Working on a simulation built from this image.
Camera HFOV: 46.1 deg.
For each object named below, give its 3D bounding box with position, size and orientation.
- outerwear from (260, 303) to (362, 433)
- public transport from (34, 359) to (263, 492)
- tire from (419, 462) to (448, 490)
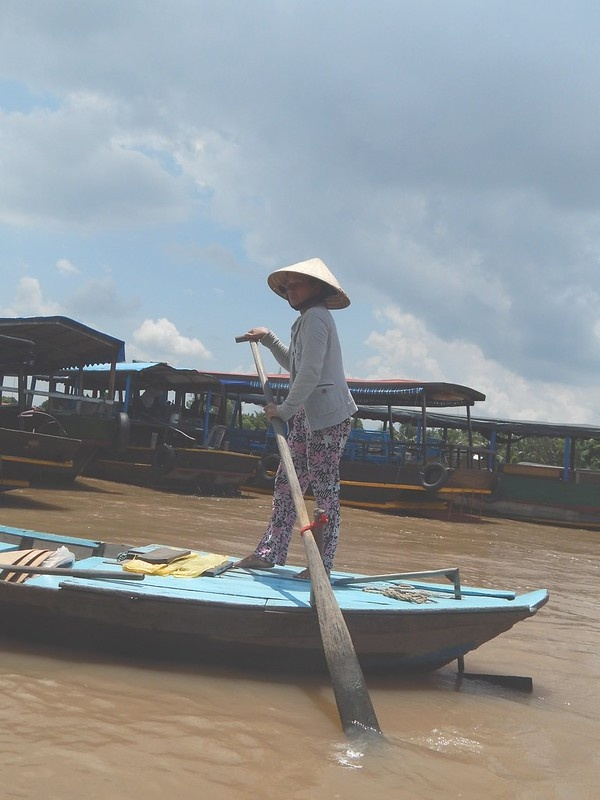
[{"bbox_3d":[0.113,-0.167,3.689,0.400,0.494,0.333,8,-4,4],"label":"outerwear"},{"bbox_3d":[-3.864,0.393,13.874,5.385,1.754,2.747,2,-2,37],"label":"public transport"},{"bbox_3d":[2.346,1.356,12.344,0.263,0.324,0.542,11,-6,-39],"label":"tire"}]
